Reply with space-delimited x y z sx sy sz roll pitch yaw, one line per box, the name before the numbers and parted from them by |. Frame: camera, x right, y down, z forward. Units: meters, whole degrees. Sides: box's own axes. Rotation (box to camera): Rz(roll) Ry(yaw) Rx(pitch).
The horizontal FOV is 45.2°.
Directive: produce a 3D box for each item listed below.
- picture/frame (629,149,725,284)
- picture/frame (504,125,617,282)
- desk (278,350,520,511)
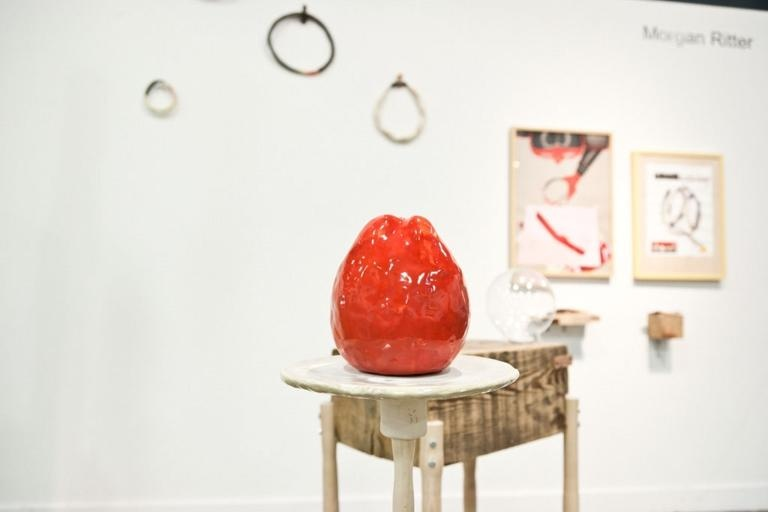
picture/frame | 1.802 -0.225 5.762 0.704 1.111 0.080 0 -1 -4
picture/frame | 1.054 -0.301 5.668 0.767 1.193 0.142 3 -5 -12
desk | 0.064 0.639 4.082 0.733 0.895 0.722 3 6 45
